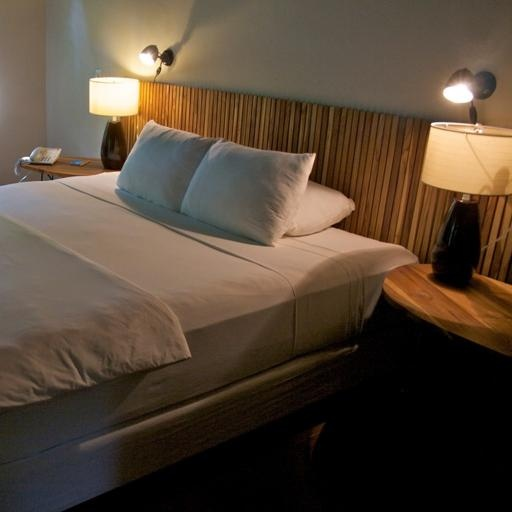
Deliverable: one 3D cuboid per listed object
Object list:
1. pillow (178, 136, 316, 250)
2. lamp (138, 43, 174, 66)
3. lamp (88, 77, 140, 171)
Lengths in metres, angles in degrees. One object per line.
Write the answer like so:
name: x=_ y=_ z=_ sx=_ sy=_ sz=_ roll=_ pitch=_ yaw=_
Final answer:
pillow: x=-0.013 y=-0.290 z=1.963 sx=0.490 sy=0.518 sz=0.152 roll=15 pitch=-6 yaw=36
lamp: x=-0.725 y=-1.483 z=3.275 sx=0.303 sy=0.143 sz=0.095 roll=15 pitch=19 yaw=26
lamp: x=-1.115 y=-1.016 z=3.477 sx=0.320 sy=0.701 sz=0.349 roll=9 pitch=20 yaw=5
